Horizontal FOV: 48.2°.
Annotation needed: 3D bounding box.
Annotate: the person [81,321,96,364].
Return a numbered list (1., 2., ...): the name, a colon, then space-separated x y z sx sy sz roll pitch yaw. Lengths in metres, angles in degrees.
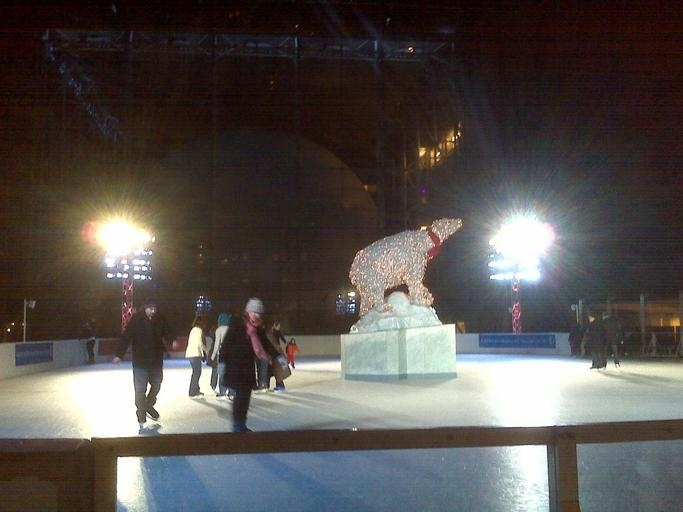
1. person: -10.223 3.421 31.143 0.442 1.595 1.221 -3 5 -20

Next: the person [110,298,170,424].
1. person: -3.840 2.043 14.898 0.917 2.396 0.502 -3 5 -17

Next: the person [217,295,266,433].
1. person: -1.755 1.945 14.005 0.791 2.344 1.069 -1 1 42

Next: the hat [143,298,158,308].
1. hat: -3.724 0.874 14.967 0.208 0.226 0.154 -17 20 -38

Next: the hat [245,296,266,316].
1. hat: -1.575 0.903 14.109 0.264 0.306 0.297 3 3 -24
